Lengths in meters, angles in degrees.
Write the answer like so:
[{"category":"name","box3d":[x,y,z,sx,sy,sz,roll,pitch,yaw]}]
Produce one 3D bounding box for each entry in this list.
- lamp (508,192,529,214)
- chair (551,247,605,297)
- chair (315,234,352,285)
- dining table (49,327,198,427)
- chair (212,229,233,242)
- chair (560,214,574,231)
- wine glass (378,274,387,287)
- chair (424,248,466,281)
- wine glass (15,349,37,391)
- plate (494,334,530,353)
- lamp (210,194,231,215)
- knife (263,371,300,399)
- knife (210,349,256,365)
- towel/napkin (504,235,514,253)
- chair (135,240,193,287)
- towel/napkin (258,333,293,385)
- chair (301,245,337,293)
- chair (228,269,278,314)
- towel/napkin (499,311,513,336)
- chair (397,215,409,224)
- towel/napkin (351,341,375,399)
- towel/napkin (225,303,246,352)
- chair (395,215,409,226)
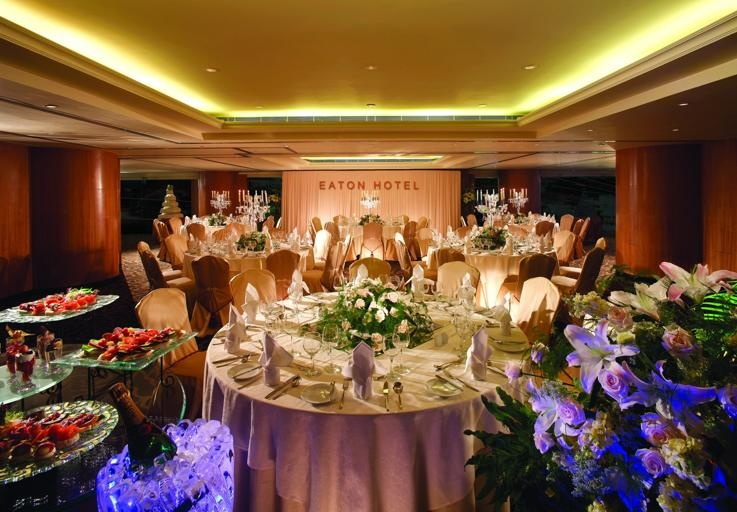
[{"category":"lamp","box3d":[4.805,-1.784,14.042,0.621,0.761,1.632,2,8,18]},{"category":"chair","box3d":[2.792,0.192,5.911,0.476,0.842,0.575,-9,19,-31]},{"category":"chair","box3d":[-0.635,0.050,7.351,0.549,0.883,0.559,23,28,31]},{"category":"dining table","box3d":[-1.767,0.897,3.197,0.803,0.777,0.807,0,-3,-14]},{"category":"chair","box3d":[-3.165,-0.447,9.428,0.426,0.412,0.428,1,-1,-14]},{"category":"chair","box3d":[6.007,-1.015,13.304,0.353,0.483,0.791,3,8,24]},{"category":"wine glass","box3d":[0.146,0.243,4.562,0.090,0.143,0.091,-1,-25,-1]},{"category":"chair","box3d":[1.211,0.117,6.993,0.525,0.519,0.532,1,-1,0]},{"category":"wine glass","box3d":[-2.206,0.722,2.801,0.096,0.232,0.161,-6,10,-41]},{"category":"plate","box3d":[0.987,0.606,3.017,0.211,0.030,0.216,1,11,18]},{"category":"lamp","box3d":[-4.875,-1.757,14.354,0.653,0.760,1.695,-3,8,-20]},{"category":"knife","box3d":[-0.496,0.747,2.565,0.063,0.036,0.246,7,14,6]},{"category":"knife","box3d":[-0.890,0.669,2.873,0.081,0.044,0.302,2,3,15]},{"category":"towel/napkin","box3d":[2.127,-0.177,6.674,0.129,0.261,0.380,2,8,18]},{"category":"chair","box3d":[-3.503,0.135,7.489,0.858,1.036,0.725,-9,15,-37]},{"category":"towel/napkin","box3d":[-0.582,0.602,2.629,0.207,0.309,0.158,1,10,38]},{"category":"chair","box3d":[-0.791,0.208,6.832,0.431,0.721,0.488,18,23,18]},{"category":"chair","box3d":[-1.155,0.368,4.582,0.430,0.736,0.508,1,-5,-4]},{"category":"towel/napkin","box3d":[0.998,0.486,3.170,0.100,0.157,0.081,-2,0,29]},{"category":"chair","box3d":[1.013,-1.085,12.990,0.294,0.270,0.275,-1,7,19]},{"category":"towel/napkin","box3d":[-0.036,0.658,2.467,0.159,0.331,0.049,-3,12,-8]},{"category":"towel/napkin","box3d":[-0.951,0.467,3.053,0.139,0.319,0.162,-15,-17,23]},{"category":"chair","box3d":[0.972,-1.059,12.922,0.367,0.360,0.414,1,-9,-7]}]
